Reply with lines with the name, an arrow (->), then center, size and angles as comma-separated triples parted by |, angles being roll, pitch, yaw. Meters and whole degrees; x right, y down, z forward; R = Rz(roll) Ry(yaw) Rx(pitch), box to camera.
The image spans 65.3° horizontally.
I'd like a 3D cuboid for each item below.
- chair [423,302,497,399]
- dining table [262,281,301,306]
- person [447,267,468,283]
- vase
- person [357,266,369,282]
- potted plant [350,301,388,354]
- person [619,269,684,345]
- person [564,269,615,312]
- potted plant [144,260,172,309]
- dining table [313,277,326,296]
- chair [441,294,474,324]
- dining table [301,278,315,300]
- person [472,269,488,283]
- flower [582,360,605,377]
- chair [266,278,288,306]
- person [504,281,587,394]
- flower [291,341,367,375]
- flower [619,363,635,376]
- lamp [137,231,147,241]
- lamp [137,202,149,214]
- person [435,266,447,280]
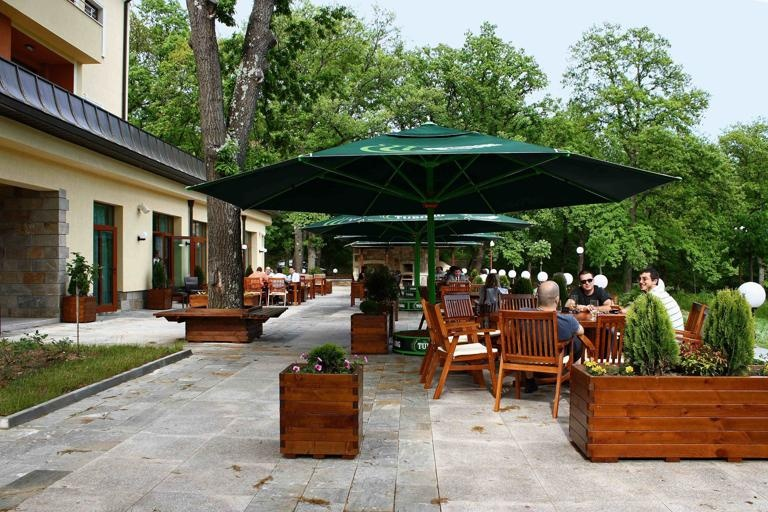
chair -> 1.358, 1.409, 9.691 | 1.397, 1.689, 1.416 | 0, 1, -8
dining table -> -3.859, 1.374, 22.848 | 1.037, 0.611, 0.989 | 1, 5, 9
person -> 2.238, 0.592, 18.951 | 0.814, 0.475, 0.816 | -1, -1, 11
vase -> -0.654, 1.834, 7.210 | 1.018, 0.911, 0.951 | 0, -2, 6
person -> -0.968, 0.758, 26.735 | 0.780, 0.735, 0.769 | 0, -4, -1
potted plant -> -0.258, 1.502, 12.368 | 0.905, 1.099, 1.621 | 0, -4, 5
person -> 5.828, 0.937, 13.102 | 1.214, 1.749, 1.341 | 5, -23, -6
person -> 3.584, 0.661, 10.527 | 0.850, 0.760, 1.023 | -4, 4, 23
potted plant -> -8.105, 1.006, 21.321 | 0.889, 1.648, 1.448 | -3, 9, -17
dining table -> -3.218, 1.513, 30.319 | 0.778, 0.993, 0.791 | 0, -7, -3
chair -> 1.471, 1.000, 11.556 | 0.595, 0.716, 0.556 | 0, -3, -20
dining table -> -3.353, 1.382, 26.690 | 0.863, 0.909, 0.826 | 0, -6, -3
person -> 4.182, 0.837, 26.061 | 0.549, 0.353, 0.760 | 0, 4, -5
flower -> 2.464, 1.310, 7.003 | 0.187, 0.087, 0.179 | 5, 0, -22
chair -> -3.999, 1.313, 22.318 | 1.015, 1.299, 0.994 | 0, 3, -1
person -> 2.452, 1.249, 8.965 | 1.241, 1.780, 1.164 | 2, 12, -9
flower -> -0.693, 1.239, 7.076 | 0.655, 0.288, 0.612 | 1, -6, 2
flower -> 2.840, 1.319, 6.971 | 0.135, 0.104, 0.130 | -2, -1, 3
lamp -> -8.347, -0.673, 20.719 | 0.247, 0.331, 0.414 | 1, 8, 6
lamp -> -8.316, -1.665, 20.723 | 0.087, 0.319, 0.319 | -33, -50, 16
person -> 2.233, 0.646, 23.628 | 0.549, 0.822, 0.260 | 0, -18, 0
